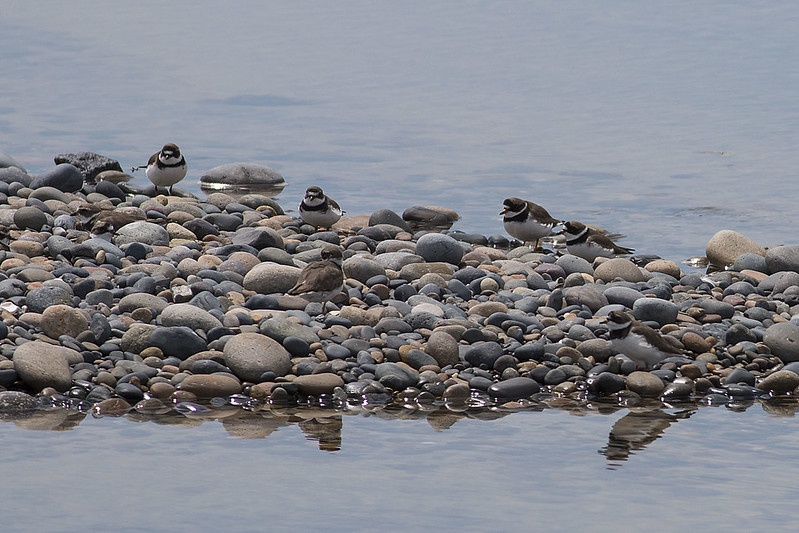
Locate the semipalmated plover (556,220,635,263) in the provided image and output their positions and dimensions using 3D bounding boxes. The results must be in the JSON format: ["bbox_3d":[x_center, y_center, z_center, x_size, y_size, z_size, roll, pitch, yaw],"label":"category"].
[{"bbox_3d":[3.293,-0.423,20.884,0.943,0.831,0.386,0,36,3],"label":"semipalmated plover"}]

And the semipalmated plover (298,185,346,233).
[{"bbox_3d":[-1.373,-1.026,20.868,0.694,0.880,0.260,-4,38,-1],"label":"semipalmated plover"}]
